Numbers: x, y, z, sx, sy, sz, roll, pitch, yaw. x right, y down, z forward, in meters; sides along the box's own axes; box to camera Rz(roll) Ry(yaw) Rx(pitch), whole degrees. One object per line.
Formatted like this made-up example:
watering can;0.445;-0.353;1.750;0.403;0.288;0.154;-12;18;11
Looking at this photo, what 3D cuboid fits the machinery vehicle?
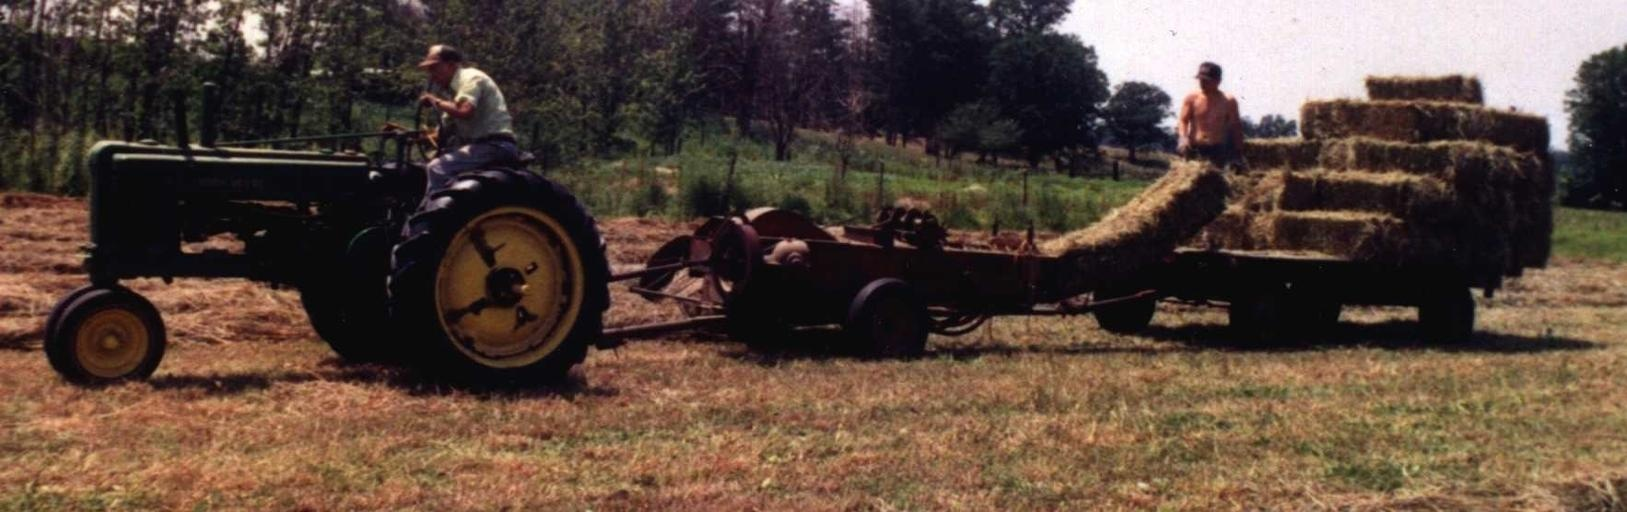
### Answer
machinery vehicle;-17.114;-0.268;45.893;17.187;7.578;11.907;2;-1;-15
